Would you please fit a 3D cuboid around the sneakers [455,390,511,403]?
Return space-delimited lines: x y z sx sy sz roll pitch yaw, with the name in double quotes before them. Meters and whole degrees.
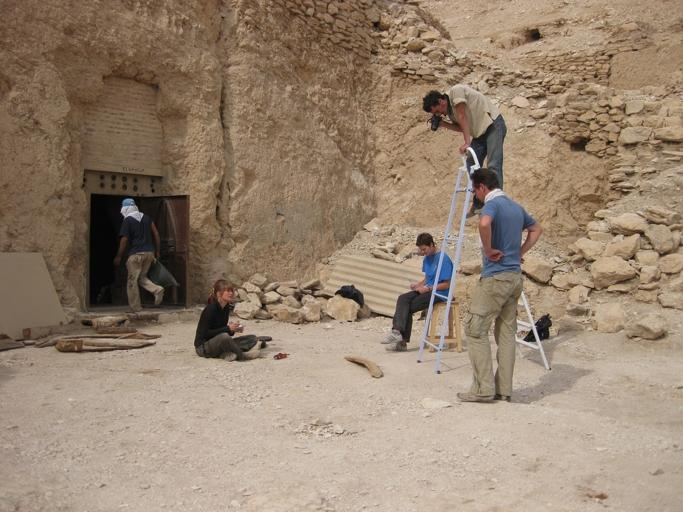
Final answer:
"sneakers" 1.659 1.655 8.248 0.581 0.180 0.210 -3 0 13

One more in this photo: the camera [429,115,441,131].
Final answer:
"camera" 1.288 -1.825 9.601 0.134 0.209 0.320 2 14 8

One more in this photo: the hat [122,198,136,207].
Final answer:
"hat" -3.777 -0.955 12.554 0.225 0.161 0.224 -1 -1 -1

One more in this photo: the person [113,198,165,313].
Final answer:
"person" -3.604 -0.039 12.645 0.801 1.985 0.884 -4 15 -14

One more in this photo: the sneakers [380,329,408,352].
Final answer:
"sneakers" 0.729 1.260 10.507 0.493 0.221 0.167 3 5 38

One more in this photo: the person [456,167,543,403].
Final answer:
"person" 1.860 0.336 8.343 0.741 2.674 1.077 4 15 17

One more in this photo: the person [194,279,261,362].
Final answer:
"person" -1.664 0.899 10.291 1.084 1.241 1.066 -1 1 15
